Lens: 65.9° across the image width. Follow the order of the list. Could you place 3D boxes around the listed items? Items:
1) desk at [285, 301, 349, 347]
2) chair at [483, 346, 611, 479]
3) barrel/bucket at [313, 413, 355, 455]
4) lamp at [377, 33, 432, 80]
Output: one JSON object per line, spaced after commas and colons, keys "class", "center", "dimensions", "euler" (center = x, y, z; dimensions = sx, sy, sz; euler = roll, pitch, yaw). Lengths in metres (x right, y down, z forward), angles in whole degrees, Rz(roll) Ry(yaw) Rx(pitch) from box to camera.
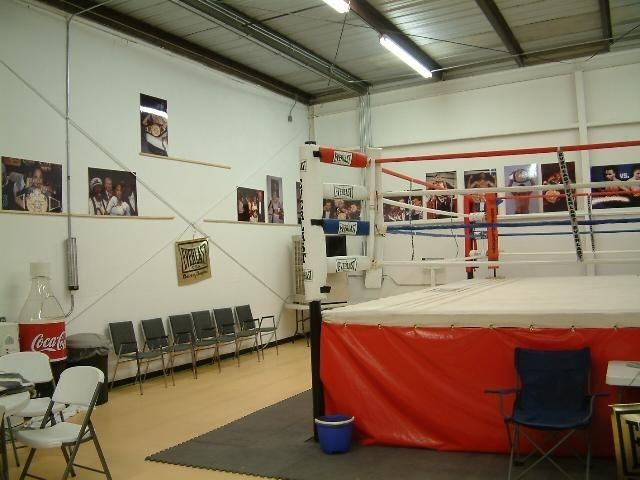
{"class": "desk", "center": [-0.149, 1.895, 10.882], "dimensions": [1.408, 1.072, 1.170], "euler": [3, -6, 22]}
{"class": "chair", "center": [1.952, 1.283, 4.312], "dimensions": [1.034, 1.328, 0.956], "euler": [-3, -10, 23]}
{"class": "barrel/bucket", "center": [0.144, 1.855, 4.748], "dimensions": [0.386, 0.295, 0.374], "euler": [-1, -24, 0]}
{"class": "lamp", "center": [1.557, -3.349, 9.014], "dimensions": [0.197, 0.529, 1.722], "euler": [-3, 1, 35]}
